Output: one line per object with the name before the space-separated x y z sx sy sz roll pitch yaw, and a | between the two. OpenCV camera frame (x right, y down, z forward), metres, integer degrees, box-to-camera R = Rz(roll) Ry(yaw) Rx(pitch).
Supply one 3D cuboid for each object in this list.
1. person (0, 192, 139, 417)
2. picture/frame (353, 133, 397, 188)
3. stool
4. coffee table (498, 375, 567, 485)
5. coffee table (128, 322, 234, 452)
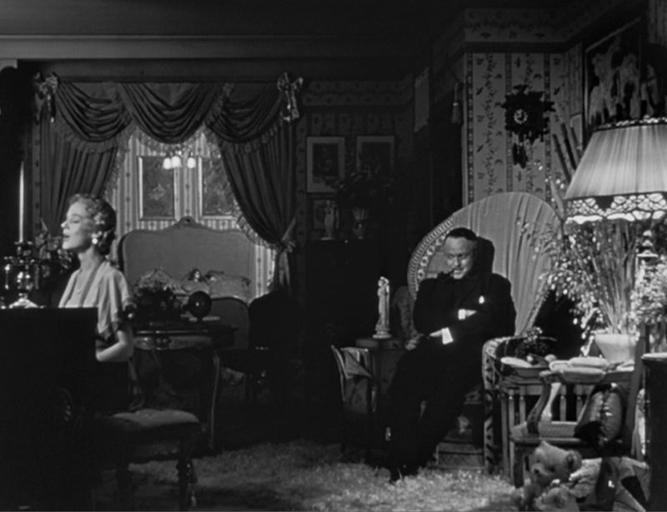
person | -1.342 0.259 5.459 0.386 1.187 0.512 -3 7 -18
picture/frame | 0.454 -0.998 10.138 0.397 0.565 0.055 -1 31 1
stool | -1.260 1.059 5.649 0.784 0.940 0.666 -5 -6 -18
coffee table | 1.138 1.004 5.978 0.294 0.391 0.282 25 -5 -41
coffee table | -0.967 0.923 6.980 0.773 0.905 0.806 -1 -1 12
